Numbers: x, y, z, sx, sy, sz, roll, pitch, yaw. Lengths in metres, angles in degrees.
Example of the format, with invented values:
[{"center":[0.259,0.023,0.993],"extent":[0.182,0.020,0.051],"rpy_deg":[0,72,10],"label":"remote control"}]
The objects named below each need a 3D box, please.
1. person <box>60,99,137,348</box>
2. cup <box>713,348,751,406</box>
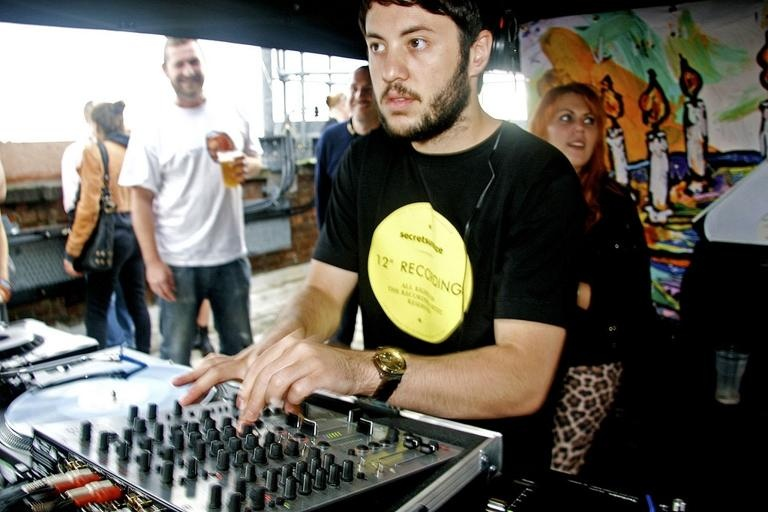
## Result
[{"center":[-1.577,-0.133,3.385],"extent":[0.396,1.420,0.198],"rpy_deg":[-8,13,-28],"label":"person"},{"center":[2.130,0.735,3.732],"extent":[0.172,0.341,0.139],"rpy_deg":[6,14,32],"label":"cup"}]
